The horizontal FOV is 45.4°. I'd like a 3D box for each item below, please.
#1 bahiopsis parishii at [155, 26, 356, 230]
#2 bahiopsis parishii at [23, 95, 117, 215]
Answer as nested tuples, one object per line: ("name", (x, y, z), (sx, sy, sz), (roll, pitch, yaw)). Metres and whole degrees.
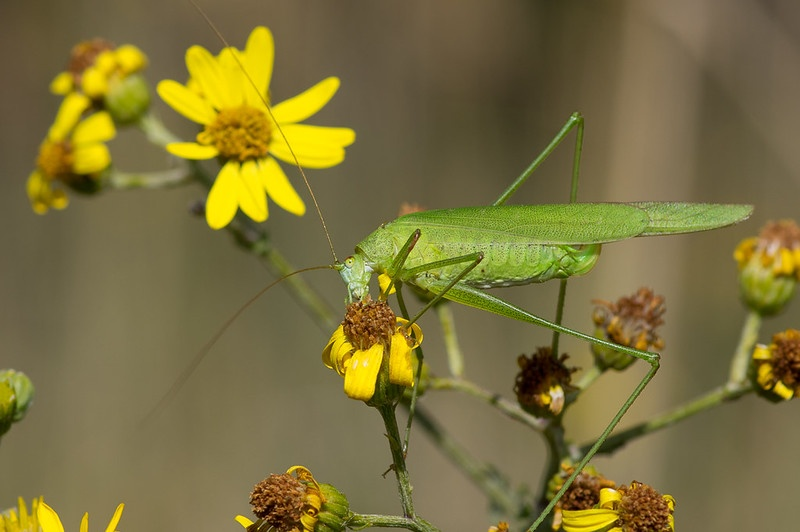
("bahiopsis parishii", (-0.794, -0.752, 5.096), (1.022, 1.074, 0.522), (11, -33, -16))
("bahiopsis parishii", (-1.708, -0.545, 4.974), (0.192, 0.428, 0.597), (-6, -53, -62))
